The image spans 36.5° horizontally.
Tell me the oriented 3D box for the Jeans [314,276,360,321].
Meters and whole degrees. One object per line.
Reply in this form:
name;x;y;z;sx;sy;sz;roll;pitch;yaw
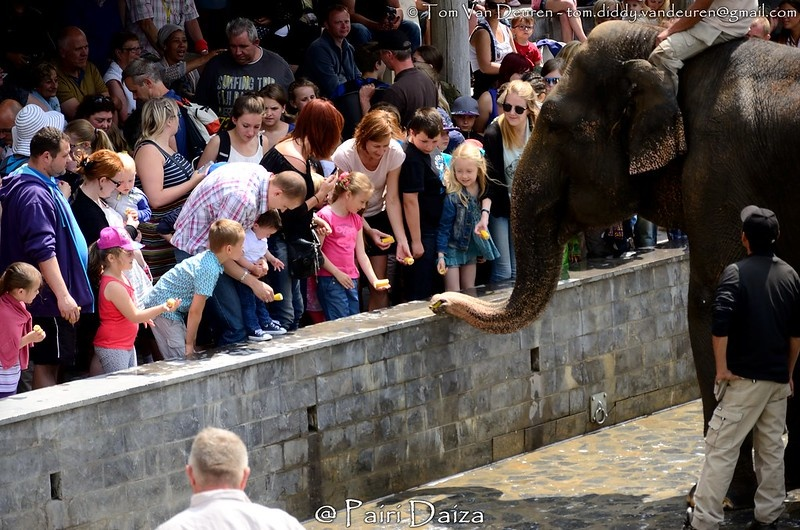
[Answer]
Jeans;-0.510;0.305;11.901;0.287;0.528;0.191;-17;48;-8

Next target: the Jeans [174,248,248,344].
Jeans;-1.656;0.249;10.693;0.252;0.772;0.497;8;30;-19

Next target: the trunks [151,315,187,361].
trunks;-2.097;0.600;10.871;0.241;0.430;0.335;-2;18;-15

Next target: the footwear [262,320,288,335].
footwear;-1.161;0.565;11.022;0.275;0.115;0.092;-1;6;8
